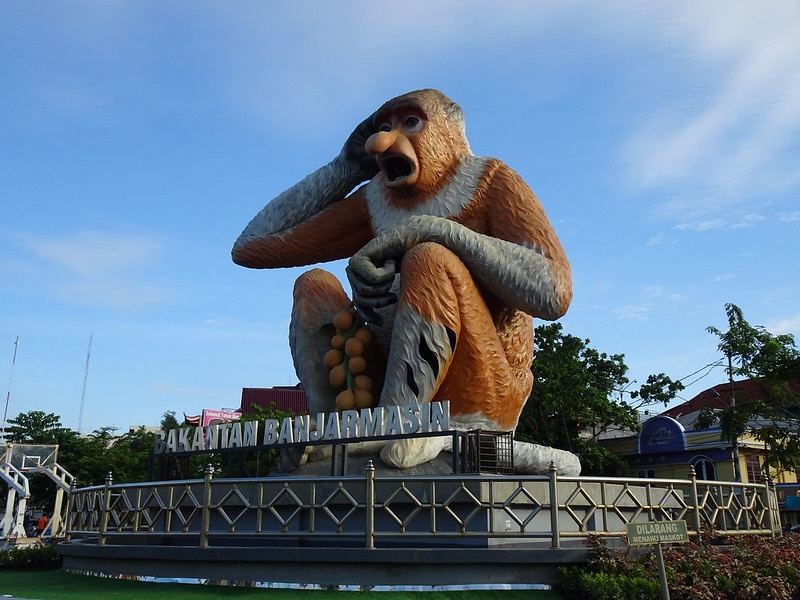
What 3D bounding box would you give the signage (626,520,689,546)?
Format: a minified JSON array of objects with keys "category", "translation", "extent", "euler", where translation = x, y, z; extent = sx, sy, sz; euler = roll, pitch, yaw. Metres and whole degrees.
[{"category":"signage","translation":[3.214,2.934,8.406],"extent":[0.910,0.327,0.022],"euler":[5,-26,-30]}]
